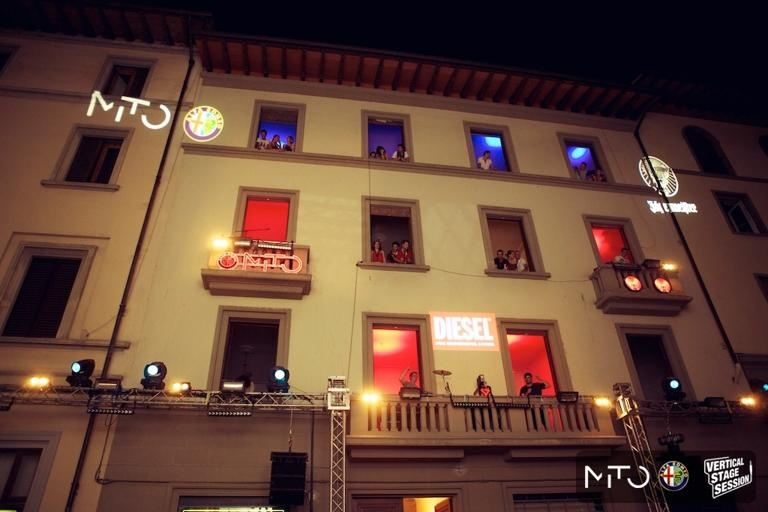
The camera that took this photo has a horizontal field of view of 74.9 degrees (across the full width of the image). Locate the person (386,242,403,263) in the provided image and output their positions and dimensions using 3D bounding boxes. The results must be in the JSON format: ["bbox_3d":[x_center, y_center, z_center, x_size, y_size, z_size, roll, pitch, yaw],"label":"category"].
[{"bbox_3d":[0.474,-0.098,21.113,0.657,1.137,0.459,2,-27,-2],"label":"person"}]

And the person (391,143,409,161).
[{"bbox_3d":[0.765,-4.807,23.380,0.834,1.031,0.621,-4,-33,3],"label":"person"}]

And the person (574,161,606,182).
[{"bbox_3d":[10.071,-4.007,24.821,1.039,0.589,1.325,0,-23,-6],"label":"person"}]

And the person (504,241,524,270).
[{"bbox_3d":[5.672,0.162,21.836,0.778,0.988,0.459,2,-7,-7],"label":"person"}]

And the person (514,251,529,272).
[{"bbox_3d":[5.990,0.224,21.877,0.356,1.118,0.660,-16,-32,30],"label":"person"}]

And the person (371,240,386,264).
[{"bbox_3d":[-0.237,-0.155,21.033,0.581,1.375,0.807,1,-27,-1],"label":"person"}]

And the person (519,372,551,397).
[{"bbox_3d":[5.961,5.037,19.595,0.796,0.633,0.425,-12,-42,-9],"label":"person"}]

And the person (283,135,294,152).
[{"bbox_3d":[-4.373,-5.147,23.020,0.541,0.946,0.512,-1,-50,-2],"label":"person"}]

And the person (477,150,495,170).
[{"bbox_3d":[4.834,-4.568,23.980,1.186,1.234,0.406,3,-46,4],"label":"person"}]
